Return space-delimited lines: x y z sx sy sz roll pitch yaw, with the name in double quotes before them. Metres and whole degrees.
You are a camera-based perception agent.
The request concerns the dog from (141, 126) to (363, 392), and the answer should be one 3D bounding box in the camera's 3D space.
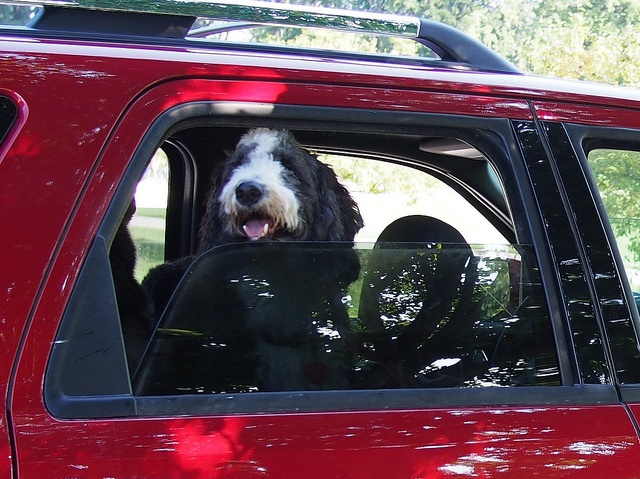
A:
"dog" -0.103 0.030 2.150 0.747 0.770 0.847 7 12 1
